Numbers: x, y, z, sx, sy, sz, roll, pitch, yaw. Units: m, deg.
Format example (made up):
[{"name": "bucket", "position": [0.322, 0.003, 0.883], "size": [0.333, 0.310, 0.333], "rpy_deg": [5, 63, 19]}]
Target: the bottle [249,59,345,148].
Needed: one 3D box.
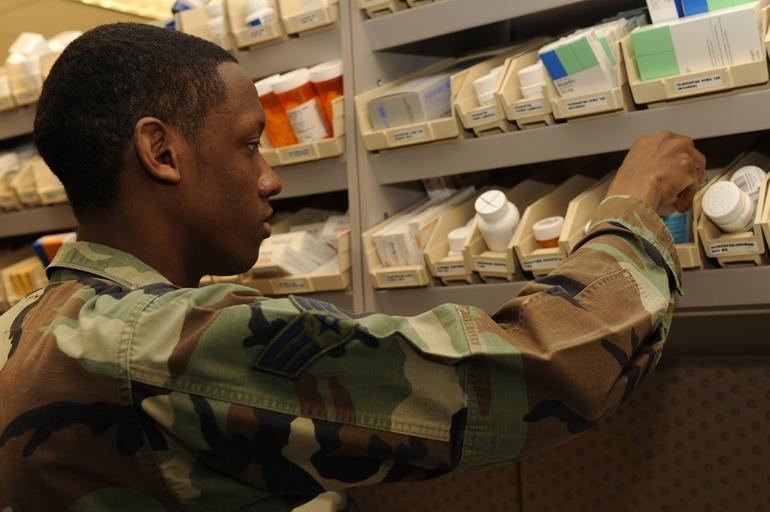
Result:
[{"name": "bottle", "position": [-0.278, -0.483, 2.095], "size": [0.280, 0.274, 0.283], "rpy_deg": [-20, 10, -4]}]

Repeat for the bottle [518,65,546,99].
[{"name": "bottle", "position": [0.375, -0.467, 1.661], "size": [0.081, 0.075, 0.083], "rpy_deg": [-20, 17, 8]}]

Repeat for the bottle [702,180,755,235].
[{"name": "bottle", "position": [0.841, -0.121, 1.498], "size": [0.146, 0.125, 0.060], "rpy_deg": [-17, 16, -16]}]

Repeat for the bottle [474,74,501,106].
[{"name": "bottle", "position": [0.270, -0.468, 1.730], "size": [0.076, 0.073, 0.078], "rpy_deg": [-27, 20, 4]}]

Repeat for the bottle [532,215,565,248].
[{"name": "bottle", "position": [0.435, -0.067, 1.650], "size": [0.079, 0.060, 0.081], "rpy_deg": [-18, 17, 6]}]

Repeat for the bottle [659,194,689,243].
[{"name": "bottle", "position": [0.753, -0.095, 1.628], "size": [0.114, 0.109, 0.032], "rpy_deg": [-10, 20, -17]}]
